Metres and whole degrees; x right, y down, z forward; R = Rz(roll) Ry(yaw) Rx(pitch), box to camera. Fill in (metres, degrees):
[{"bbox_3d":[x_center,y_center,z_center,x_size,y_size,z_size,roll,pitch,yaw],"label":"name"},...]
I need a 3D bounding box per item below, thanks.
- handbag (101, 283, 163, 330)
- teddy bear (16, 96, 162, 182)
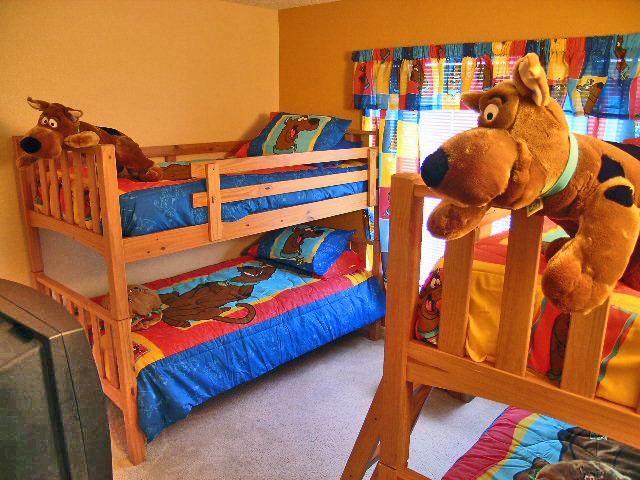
[{"bbox_3d":[-1.105,0.376,3.114,0.326,0.122,0.251,29,34,21],"label":"handbag"},{"bbox_3d":[-1.269,-0.560,2.866,0.556,0.345,0.688,7,4,30],"label":"teddy bear"}]
